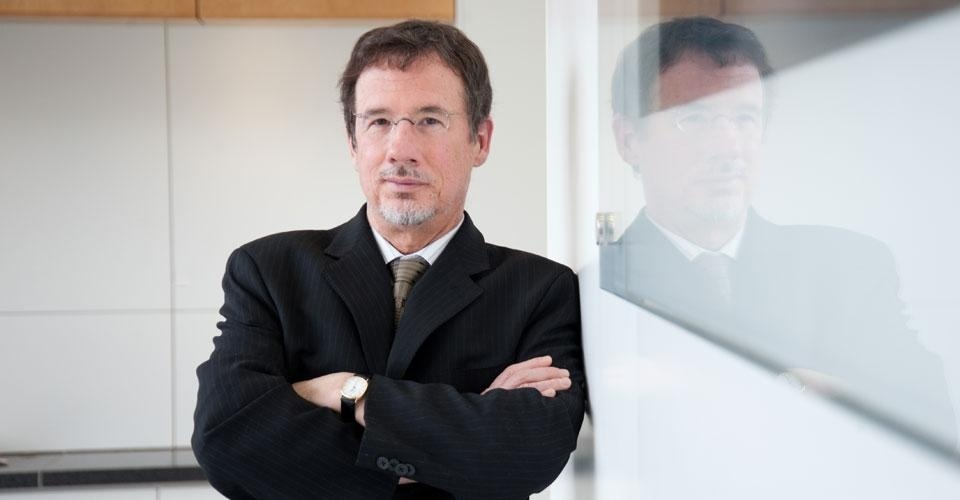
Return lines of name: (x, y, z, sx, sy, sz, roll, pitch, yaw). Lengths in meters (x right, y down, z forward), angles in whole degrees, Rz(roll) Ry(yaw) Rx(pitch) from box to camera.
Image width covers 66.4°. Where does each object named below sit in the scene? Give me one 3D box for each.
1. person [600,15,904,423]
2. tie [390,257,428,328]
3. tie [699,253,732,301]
person: (0.914, -0.190, 2.573, 0.959, 1.262, 0.236, 3, 7, 43)
tie: (-0.350, 0.190, 3.628, 0.230, 0.279, 0.090, 1, -14, 8)
tie: (0.830, 0.092, 2.549, 0.047, 0.137, 0.142, -8, -14, -44)
